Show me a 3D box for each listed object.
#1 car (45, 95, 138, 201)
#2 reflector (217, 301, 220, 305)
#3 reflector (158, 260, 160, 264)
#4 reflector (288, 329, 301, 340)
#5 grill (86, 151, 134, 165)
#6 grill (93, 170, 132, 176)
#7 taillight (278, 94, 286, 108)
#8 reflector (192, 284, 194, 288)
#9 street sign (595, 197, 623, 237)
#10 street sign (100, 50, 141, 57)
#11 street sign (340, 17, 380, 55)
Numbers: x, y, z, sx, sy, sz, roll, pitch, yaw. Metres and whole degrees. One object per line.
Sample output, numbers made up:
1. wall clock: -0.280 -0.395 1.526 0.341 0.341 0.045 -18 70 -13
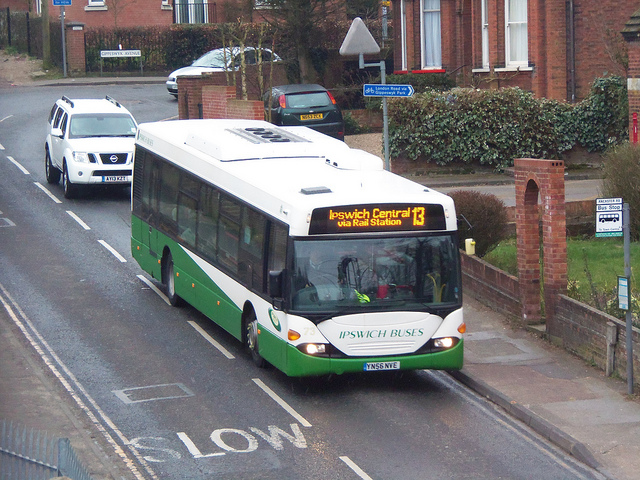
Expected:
1. car: -6.892 -2.745 36.739 2.234 3.069 5.052 -2 3 -30
2. reflector: -2.046 1.213 25.112 0.018 0.079 0.071 1 4 -30
3. reflector: -3.558 0.437 27.646 0.053 0.074 0.060 2 12 1
4. reflector: -0.470 1.662 22.584 0.156 0.143 0.172 3 11 -24
5. grill: -5.863 -2.271 34.860 1.263 0.328 0.352 -2 3 -29
6. grill: -5.785 -1.876 34.835 1.047 0.158 0.261 -2 3 -27
7. taillight: -1.217 -4.421 40.078 0.152 0.428 0.455 -1 3 -19
8. reflector: -2.656 0.905 26.138 0.052 0.068 0.201 -1 4 -11
9. street sign: 5.122 -0.418 22.261 0.491 0.787 0.064 -3 -29 20
10. street sign: -9.328 -8.670 58.663 1.824 0.383 1.356 -1 3 -12
11. street sign: 0.851 -4.472 27.637 0.808 0.756 0.723 0 3 3
